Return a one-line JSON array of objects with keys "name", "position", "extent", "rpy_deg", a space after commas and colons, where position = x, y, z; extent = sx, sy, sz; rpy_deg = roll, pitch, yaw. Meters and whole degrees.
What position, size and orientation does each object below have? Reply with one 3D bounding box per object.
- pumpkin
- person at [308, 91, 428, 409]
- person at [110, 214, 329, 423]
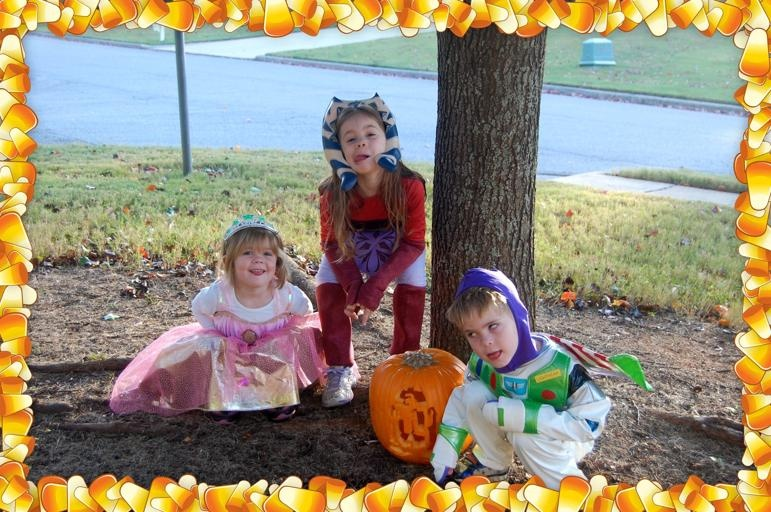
[{"name": "pumpkin", "position": [0.269, 1.202, 8.135], "extent": [0.808, 0.837, 0.716], "rpy_deg": [1, -5, 4]}, {"name": "person", "position": [-0.145, -0.046, 8.807], "extent": [0.885, 2.452, 1.092], "rpy_deg": [-1, 4, -16]}, {"name": "person", "position": [-1.326, 0.497, 8.384], "extent": [1.624, 1.591, 0.696], "rpy_deg": [0, 12, -4]}]
